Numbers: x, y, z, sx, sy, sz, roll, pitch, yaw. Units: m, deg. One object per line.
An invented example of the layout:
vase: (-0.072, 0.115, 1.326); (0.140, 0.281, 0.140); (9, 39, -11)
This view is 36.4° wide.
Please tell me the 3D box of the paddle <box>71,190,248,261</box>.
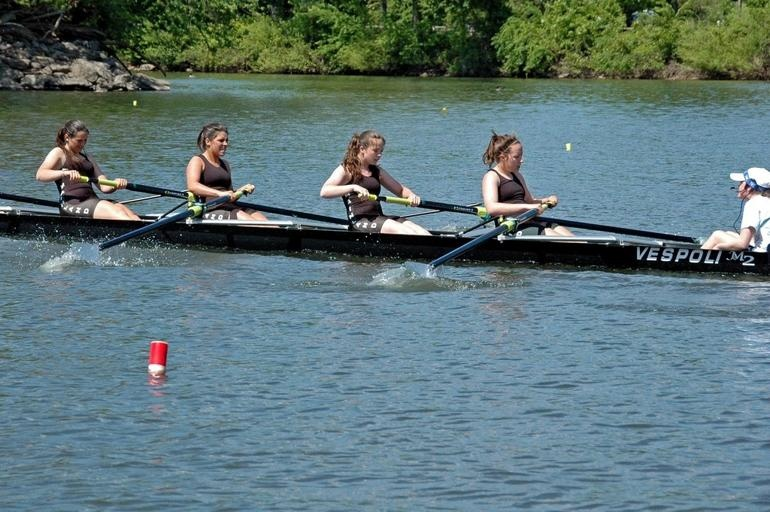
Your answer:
paddle: (-3.319, -0.404, 17.350); (3.408, 0.348, 0.477); (-13, -10, -5)

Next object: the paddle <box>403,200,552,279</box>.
paddle: (1.346, -0.225, 16.335); (2.148, 0.252, 0.631); (-28, 35, -10)
